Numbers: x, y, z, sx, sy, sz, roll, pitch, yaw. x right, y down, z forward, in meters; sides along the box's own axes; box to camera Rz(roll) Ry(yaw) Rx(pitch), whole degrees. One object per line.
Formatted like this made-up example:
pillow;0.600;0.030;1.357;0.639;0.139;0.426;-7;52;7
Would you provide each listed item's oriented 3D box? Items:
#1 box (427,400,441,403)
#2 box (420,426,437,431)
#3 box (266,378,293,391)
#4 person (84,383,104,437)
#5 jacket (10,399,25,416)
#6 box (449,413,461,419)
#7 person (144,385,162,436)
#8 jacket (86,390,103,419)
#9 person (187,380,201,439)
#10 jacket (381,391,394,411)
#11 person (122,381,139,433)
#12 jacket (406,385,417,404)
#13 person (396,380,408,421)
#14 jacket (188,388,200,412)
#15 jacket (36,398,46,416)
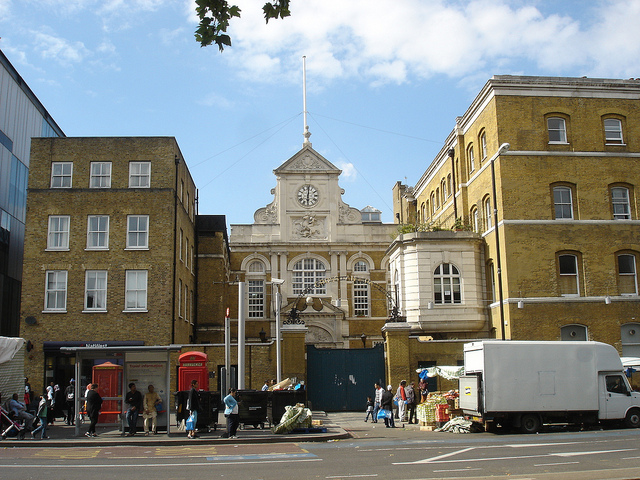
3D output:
box;5.569;7.808;42.107;0.621;0.110;0.083;-10;-16;36
box;5.189;8.969;41.404;0.780;0.182;0.349;-3;-13;11
box;-1.888;7.221;43.309;0.894;0.277;0.654;-19;1;-6
person;-10.161;7.699;39.270;0.674;2.349;0.935;2;-13;-13
jacket;-13.493;7.562;39.066;0.566;0.922;0.774;0;-8;-9
box;6.452;8.412;41.509;0.476;0.313;0.253;-2;0;5
person;-7.618;7.719;39.541;0.627;2.213;0.916;-7;-14;25
jacket;-10.149;7.416;39.184;0.639;1.283;0.491;0;-13;-4
person;-5.616;7.598;38.970;0.548;2.517;1.374;1;-13;-8
jacket;3.310;7.968;42.953;0.512;0.946;0.347;-1;-13;-1
person;-8.494;7.471;39.372;0.719;1.750;1.191;2;-13;-12
jacket;4.692;7.913;44.237;0.464;0.848;0.334;2;-13;-12
person;4.268;8.245;44.760;0.520;2.085;1.381;-2;-13;6
jacket;-5.701;7.229;39.225;0.397;1.074;0.611;-4;-13;12
jacket;-12.480;7.558;39.196;0.306;0.832;0.603;4;-14;-20
